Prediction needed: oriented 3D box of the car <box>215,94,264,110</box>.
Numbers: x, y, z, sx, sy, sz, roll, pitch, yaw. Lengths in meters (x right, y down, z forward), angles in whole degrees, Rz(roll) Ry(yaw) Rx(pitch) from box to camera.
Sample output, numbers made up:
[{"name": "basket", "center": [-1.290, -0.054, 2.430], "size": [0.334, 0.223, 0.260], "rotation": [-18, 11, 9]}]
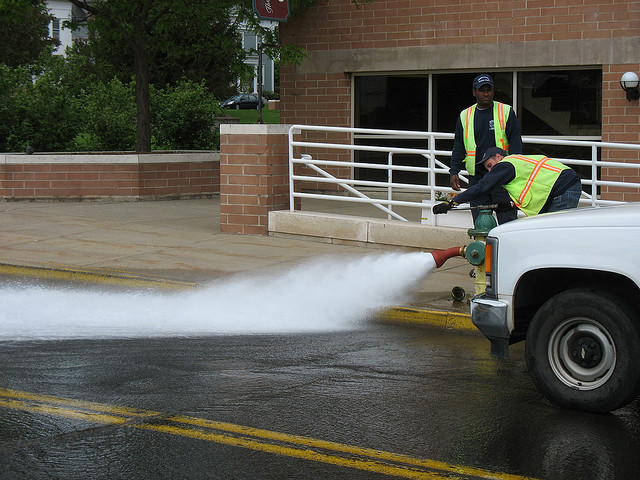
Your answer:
[{"name": "car", "center": [-5.736, -10.073, 58.192], "size": [2.769, 1.069, 2.311], "rotation": [-3, 12, -19]}]

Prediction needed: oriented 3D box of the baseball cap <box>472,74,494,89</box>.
[{"name": "baseball cap", "center": [1.909, -1.846, 9.347], "size": [0.186, 0.145, 0.301], "rotation": [5, 12, 20]}]

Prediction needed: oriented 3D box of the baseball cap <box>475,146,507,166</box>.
[{"name": "baseball cap", "center": [1.803, -0.885, 8.317], "size": [0.332, 0.153, 0.199], "rotation": [-8, 2, 2]}]

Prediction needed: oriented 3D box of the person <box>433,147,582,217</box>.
[{"name": "person", "center": [1.970, -0.497, 8.231], "size": [1.396, 0.951, 0.765], "rotation": [0, 7, 27]}]

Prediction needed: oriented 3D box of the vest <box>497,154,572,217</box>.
[{"name": "vest", "center": [2.129, -0.544, 7.991], "size": [0.611, 0.591, 0.411], "rotation": [-24, 3, 7]}]
